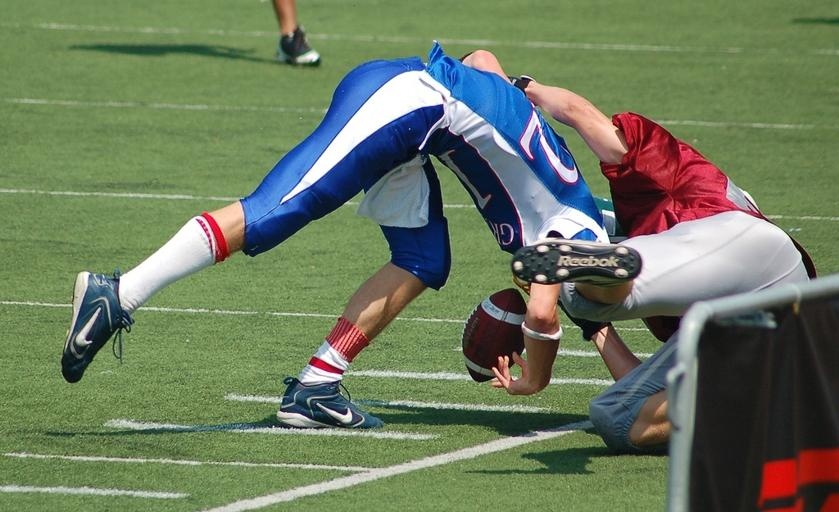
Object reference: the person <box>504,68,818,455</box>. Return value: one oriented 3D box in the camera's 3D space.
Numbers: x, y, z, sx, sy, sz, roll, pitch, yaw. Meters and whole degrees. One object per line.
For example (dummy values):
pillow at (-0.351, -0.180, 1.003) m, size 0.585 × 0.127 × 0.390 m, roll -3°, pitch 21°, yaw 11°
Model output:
person at (1.541, 0.181, 7.745) m, size 1.586 × 1.986 × 1.099 m, roll 8°, pitch 19°, yaw 4°
